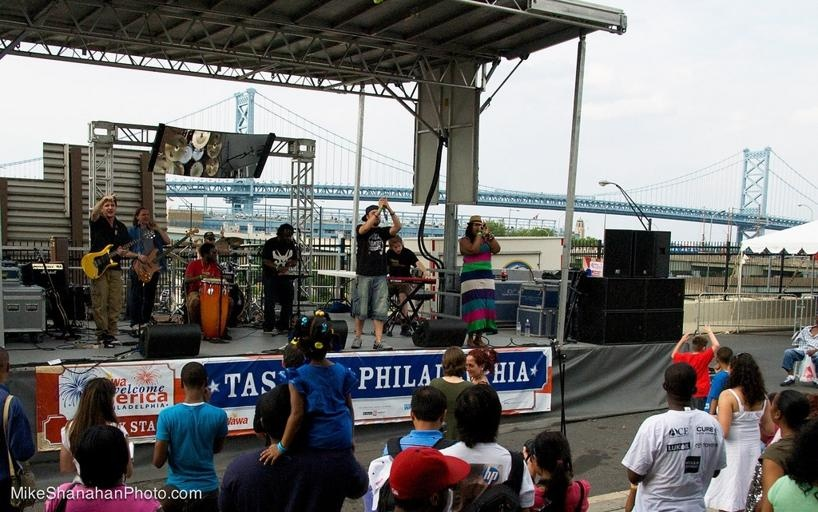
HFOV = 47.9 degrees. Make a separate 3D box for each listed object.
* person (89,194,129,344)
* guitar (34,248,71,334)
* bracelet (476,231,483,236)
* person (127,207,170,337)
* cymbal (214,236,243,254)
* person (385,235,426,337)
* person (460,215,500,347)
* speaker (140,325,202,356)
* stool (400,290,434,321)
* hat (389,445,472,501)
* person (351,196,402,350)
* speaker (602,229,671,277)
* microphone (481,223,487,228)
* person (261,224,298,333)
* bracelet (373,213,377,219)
[{"bbox_3d":[-4.665,0.211,14.453,0.676,2.403,0.889,-5,-10,17],"label":"person"},{"bbox_3d":[-5.889,0.590,15.349,0.608,1.573,0.547,1,-1,-19],"label":"guitar"},{"bbox_3d":[1.151,-0.378,15.092,0.080,0.066,0.038,1,0,-21],"label":"bracelet"},{"bbox_3d":[-4.273,0.232,15.253,0.641,2.024,0.537,4,-8,-43],"label":"person"},{"bbox_3d":[-3.440,-0.226,17.838,0.335,0.195,0.480,-3,6,-3],"label":"cymbal"},{"bbox_3d":[-0.069,0.524,16.673,0.676,1.835,0.605,7,0,-28],"label":"person"},{"bbox_3d":[1.181,0.395,15.430,0.669,2.193,0.623,2,-4,-36],"label":"person"},{"bbox_3d":[-3.545,1.241,13.862,0.815,0.531,0.619,0,3,-28],"label":"speaker"},{"bbox_3d":[0.083,0.897,16.813,0.501,0.753,0.605,-3,-10,24],"label":"stool"},{"bbox_3d":[0.203,2.165,9.672,0.970,0.378,0.673,-17,18,-34],"label":"hat"},{"bbox_3d":[-0.554,0.280,15.052,0.763,2.450,0.763,-2,-11,15],"label":"person"},{"bbox_3d":[3.853,-0.091,16.209,1.125,0.855,0.640,1,9,-3],"label":"speaker"},{"bbox_3d":[1.225,-0.503,15.132,0.037,0.074,0.064,5,8,21],"label":"microphone"},{"bbox_3d":[-2.221,0.418,16.112,0.668,1.936,0.880,2,0,-27],"label":"person"},{"bbox_3d":[-0.543,-0.651,14.901,0.057,0.084,0.029,5,-5,-2],"label":"bracelet"}]
